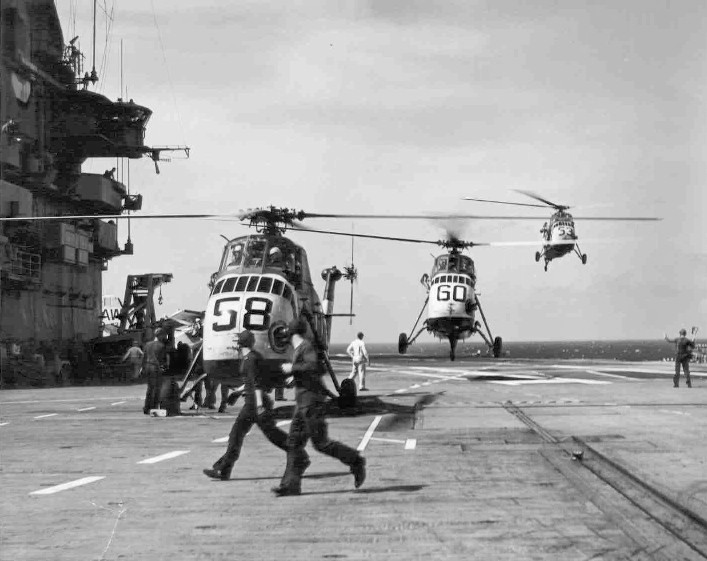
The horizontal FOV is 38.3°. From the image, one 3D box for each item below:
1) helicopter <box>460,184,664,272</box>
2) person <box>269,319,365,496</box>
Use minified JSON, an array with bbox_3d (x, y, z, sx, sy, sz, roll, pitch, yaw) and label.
[{"bbox_3d":[5.858,-1.448,30.326,4.119,2.901,8.278,-3,-4,38],"label":"helicopter"},{"bbox_3d":[-0.548,1.837,15.040,1.493,2.526,0.851,-2,-7,0],"label":"person"}]
